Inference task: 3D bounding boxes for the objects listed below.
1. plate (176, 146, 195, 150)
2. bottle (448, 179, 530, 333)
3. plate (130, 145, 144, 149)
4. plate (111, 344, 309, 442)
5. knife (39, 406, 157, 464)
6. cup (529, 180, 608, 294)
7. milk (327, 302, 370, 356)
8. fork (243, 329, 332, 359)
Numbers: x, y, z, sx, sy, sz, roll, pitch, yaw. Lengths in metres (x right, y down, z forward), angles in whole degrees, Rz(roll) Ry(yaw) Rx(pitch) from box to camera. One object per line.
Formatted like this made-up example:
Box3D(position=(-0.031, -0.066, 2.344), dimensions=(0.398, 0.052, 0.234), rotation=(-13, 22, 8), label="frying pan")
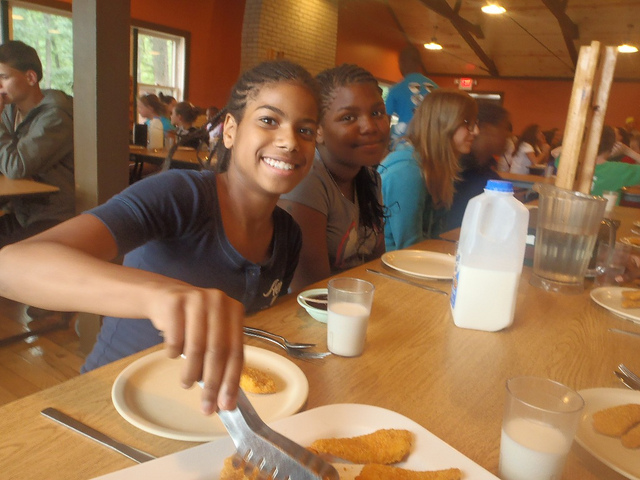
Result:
Box3D(position=(-1.736, -1.205, 6.217), dimensions=(0.207, 0.047, 0.526), rotation=(-1, 15, -15), label="plate")
Box3D(position=(0.463, 0.056, 1.367), dimensions=(0.216, 0.424, 0.209), rotation=(13, -11, 3), label="bottle")
Box3D(position=(-2.295, -1.158, 5.983), dimensions=(0.148, 0.038, 0.155), rotation=(3, 6, -21), label="plate")
Box3D(position=(-0.223, 0.232, 1.102), dimensions=(0.425, 0.150, 0.461), rotation=(-4, 10, -39), label="plate")
Box3D(position=(-0.400, 0.345, 0.852), dimensions=(0.247, 0.029, 0.031), rotation=(9, 16, 21), label="knife")
Box3D(position=(0.873, 0.014, 1.688), dimensions=(0.261, 0.348, 0.305), rotation=(-1, 9, -42), label="cup")
Box3D(position=(0.067, 0.214, 1.147), dimensions=(0.097, 0.110, 0.072), rotation=(5, 15, 5), label="milk")
Box3D(position=(-0.081, 0.252, 1.143), dimensions=(0.301, 0.036, 0.034), rotation=(8, 24, 20), label="fork")
